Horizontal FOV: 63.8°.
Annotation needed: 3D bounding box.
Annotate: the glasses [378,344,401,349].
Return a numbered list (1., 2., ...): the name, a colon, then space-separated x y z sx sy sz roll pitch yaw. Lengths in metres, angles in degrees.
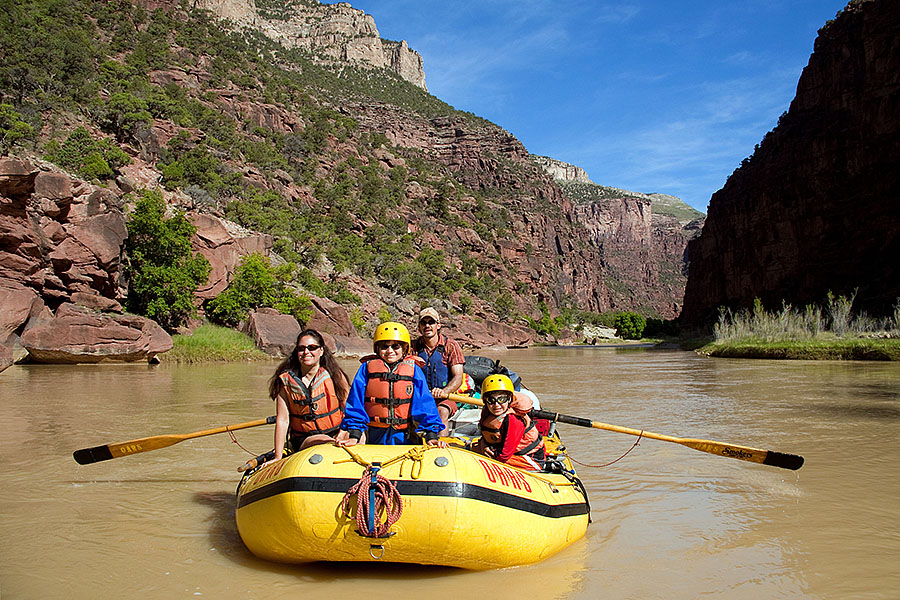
1. glasses: -1.104 0.845 13.330 0.372 0.091 0.029 -1 13 -5

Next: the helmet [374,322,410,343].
1. helmet: -1.085 0.601 13.427 0.428 0.498 0.409 0 2 1
